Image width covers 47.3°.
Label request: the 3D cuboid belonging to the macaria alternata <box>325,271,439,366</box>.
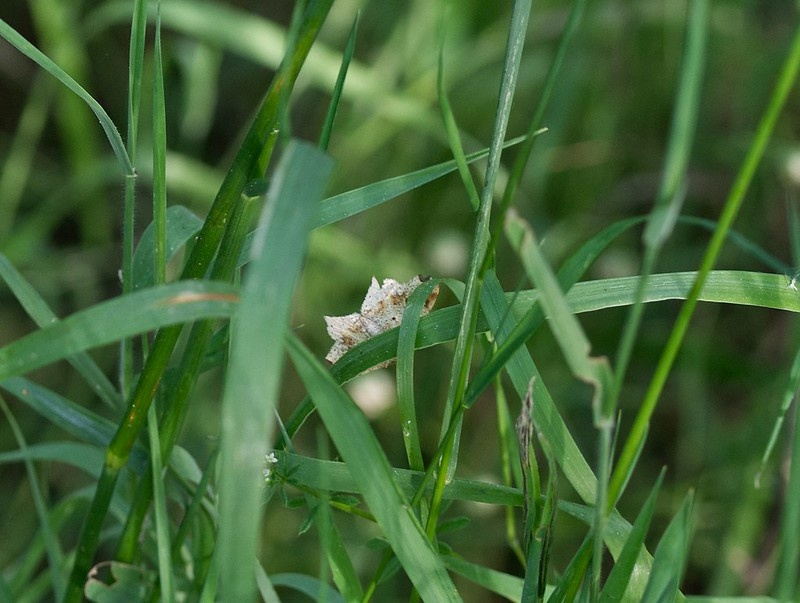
[{"bbox_3d":[-0.013,0.029,0.692,0.065,0.069,0.032,-32,-53,10],"label":"macaria alternata"}]
